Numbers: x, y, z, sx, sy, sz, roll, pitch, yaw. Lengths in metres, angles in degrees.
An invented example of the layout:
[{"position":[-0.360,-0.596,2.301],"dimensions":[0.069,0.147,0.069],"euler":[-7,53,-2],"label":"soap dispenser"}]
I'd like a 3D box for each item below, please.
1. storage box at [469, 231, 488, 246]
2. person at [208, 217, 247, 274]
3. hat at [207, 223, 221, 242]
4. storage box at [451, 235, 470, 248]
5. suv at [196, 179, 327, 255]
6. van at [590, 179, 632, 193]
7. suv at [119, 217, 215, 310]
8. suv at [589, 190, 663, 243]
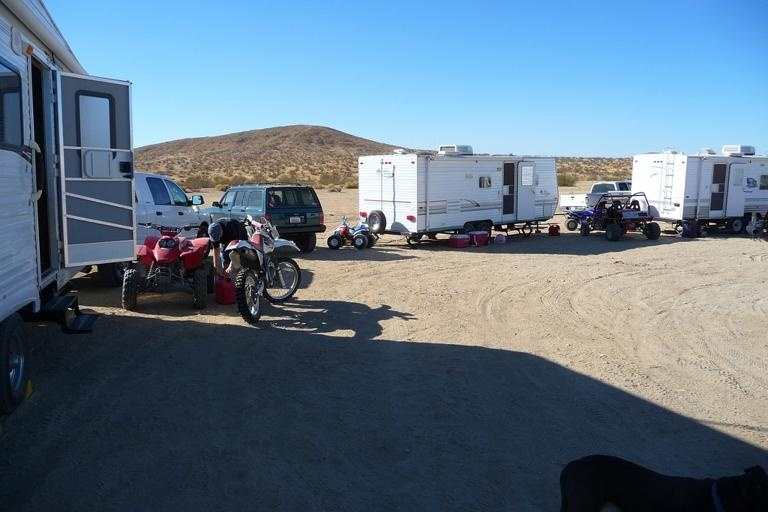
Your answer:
[{"position":[3.341,-0.624,17.854],"dimensions":[0.679,0.463,0.388],"euler":[-7,16,-34],"label":"storage box"},{"position":[-2.722,-0.124,9.161],"dimensions":[0.607,1.055,1.050],"euler":[-2,13,-14],"label":"person"},{"position":[-2.867,-0.387,8.792],"dimensions":[0.197,0.356,0.345],"euler":[-3,14,-18],"label":"hat"},{"position":[2.571,-0.510,17.516],"dimensions":[0.558,0.277,0.495],"euler":[-1,5,-12],"label":"storage box"},{"position":[-3.956,-1.253,16.407],"dimensions":[3.968,1.619,2.371],"euler":[7,9,44],"label":"suv"},{"position":[11.314,-3.437,25.471],"dimensions":[2.213,0.749,1.176],"euler":[-16,17,-35],"label":"van"},{"position":[-3.972,0.235,9.211],"dimensions":[1.305,1.160,2.114],"euler":[1,6,-5],"label":"suv"},{"position":[9.284,-1.628,20.590],"dimensions":[2.125,1.365,2.787],"euler":[-6,10,-5],"label":"suv"}]
